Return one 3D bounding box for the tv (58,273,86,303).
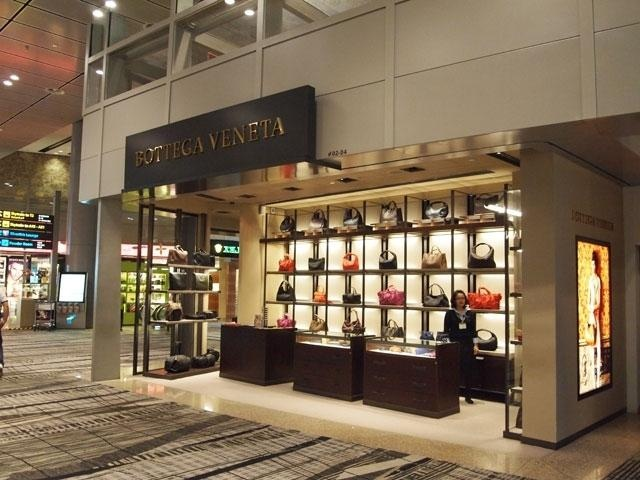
[{"bbox_3d":[-8.634,1.608,17.620,1.139,1.170,0.096,2,1,-2],"label":"tv"}]

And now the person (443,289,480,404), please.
[{"bbox_3d":[2.172,1.586,7.721,0.536,1.642,0.340,1,-3,-2],"label":"person"}]

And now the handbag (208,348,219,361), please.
[{"bbox_3d":[-2.116,2.237,10.239,0.253,0.211,0.250,-3,2,-39],"label":"handbag"}]

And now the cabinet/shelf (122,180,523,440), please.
[{"bbox_3d":[0.076,0.746,8.735,7.142,3.339,2.770,-1,-3,36],"label":"cabinet/shelf"}]

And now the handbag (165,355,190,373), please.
[{"bbox_3d":[-2.637,2.234,9.380,0.340,0.230,0.378,-2,-8,30],"label":"handbag"}]
